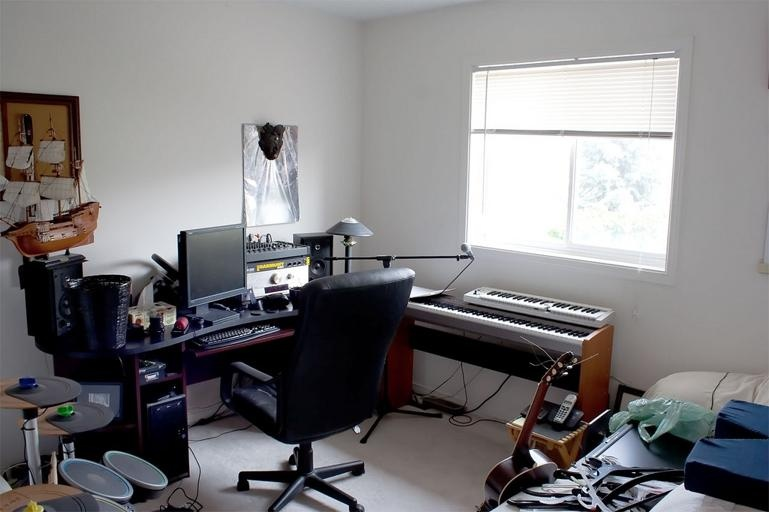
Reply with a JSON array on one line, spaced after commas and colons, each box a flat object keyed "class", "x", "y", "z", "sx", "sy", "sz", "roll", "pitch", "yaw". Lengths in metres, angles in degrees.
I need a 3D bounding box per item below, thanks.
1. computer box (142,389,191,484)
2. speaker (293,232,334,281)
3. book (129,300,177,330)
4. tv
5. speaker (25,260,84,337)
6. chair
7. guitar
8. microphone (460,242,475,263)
[{"class": "computer box", "x": -1.448, "y": 1.200, "z": 3.764, "sx": 0.291, "sy": 0.474, "sz": 0.278, "roll": -8, "pitch": -14, "yaw": -13}, {"class": "speaker", "x": -0.570, "y": 0.003, "z": 4.438, "sx": 0.303, "sy": 0.542, "sz": 0.249, "roll": -5, "pitch": 11, "yaw": -41}, {"class": "book", "x": -1.537, "y": 0.372, "z": 3.737, "sx": 0.165, "sy": 0.107, "sz": 0.228, "roll": 11, "pitch": 11, "yaw": 43}, {"class": "tv", "x": -1.197, "y": 0.133, "z": 3.914, "sx": 0.272, "sy": 0.782, "sz": 0.619, "roll": 5, "pitch": 7, "yaw": 35}, {"class": "speaker", "x": -2.021, "y": 0.248, "z": 3.482, "sx": 0.348, "sy": 0.486, "sz": 0.215, "roll": -6, "pitch": 14, "yaw": -28}, {"class": "chair", "x": -0.413, "y": 0.795, "z": 3.407, "sx": 0.971, "sy": 1.534, "sz": 0.607, "roll": 9, "pitch": 15, "yaw": 33}, {"class": "guitar", "x": 0.709, "y": 0.950, "z": 2.881, "sx": 0.424, "sy": 0.888, "sz": 0.854, "roll": 5, "pitch": 13, "yaw": 18}, {"class": "microphone", "x": 0.628, "y": -0.023, "z": 4.331, "sx": 0.098, "sy": 0.187, "sz": 0.073, "roll": -24, "pitch": 30, "yaw": -19}]
